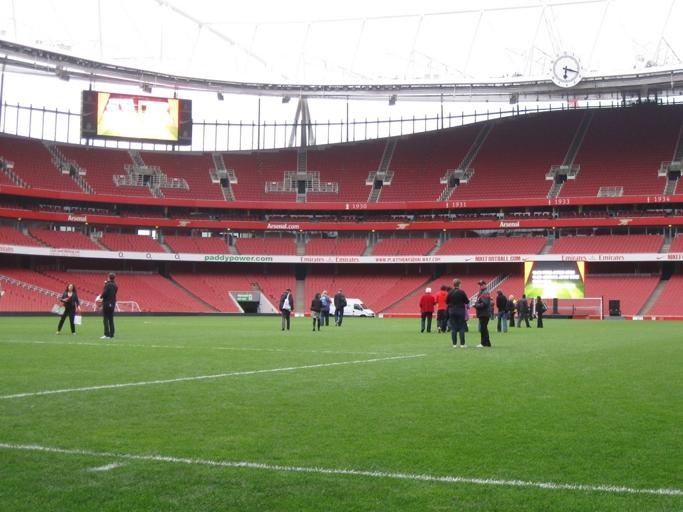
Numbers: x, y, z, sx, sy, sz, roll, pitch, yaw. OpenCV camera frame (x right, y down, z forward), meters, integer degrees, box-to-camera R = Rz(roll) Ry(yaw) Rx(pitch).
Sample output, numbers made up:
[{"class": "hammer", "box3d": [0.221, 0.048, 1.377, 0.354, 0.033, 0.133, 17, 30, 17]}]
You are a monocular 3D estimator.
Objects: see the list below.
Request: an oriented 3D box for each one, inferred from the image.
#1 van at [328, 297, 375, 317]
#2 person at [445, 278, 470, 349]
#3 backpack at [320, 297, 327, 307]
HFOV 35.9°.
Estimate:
[{"class": "van", "box3d": [0.719, 3.744, 77.578, 3.437, 1.437, 1.396, 0, -2, 2]}, {"class": "person", "box3d": [4.816, 2.284, 42.269, 1.046, 2.714, 0.920, -1, 0, 24]}, {"class": "backpack", "box3d": [-1.002, 2.381, 56.122, 0.452, 0.743, 0.623, 0, -5, 1]}]
